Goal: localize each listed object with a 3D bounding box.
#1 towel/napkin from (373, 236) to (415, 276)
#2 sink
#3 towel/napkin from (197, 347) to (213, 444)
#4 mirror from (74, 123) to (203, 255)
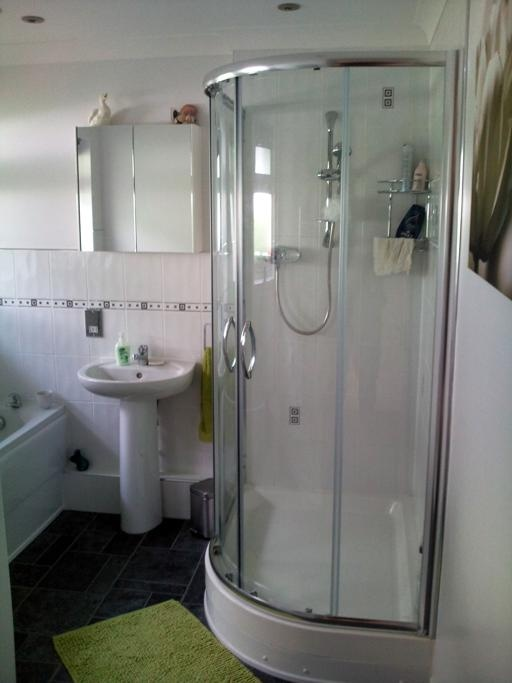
[{"bbox_3d":[0.457,-0.284,1.805,0.094,0.127,0.012,2,6,15],"label":"towel/napkin"},{"bbox_3d":[-0.628,0.208,2.843,0.566,0.139,0.429,1,10,8],"label":"sink"},{"bbox_3d":[-0.264,0.281,2.915,0.070,0.489,0.153,-6,10,-36],"label":"towel/napkin"},{"bbox_3d":[-0.573,-0.780,2.757,0.456,0.602,0.174,1,7,3],"label":"mirror"}]
